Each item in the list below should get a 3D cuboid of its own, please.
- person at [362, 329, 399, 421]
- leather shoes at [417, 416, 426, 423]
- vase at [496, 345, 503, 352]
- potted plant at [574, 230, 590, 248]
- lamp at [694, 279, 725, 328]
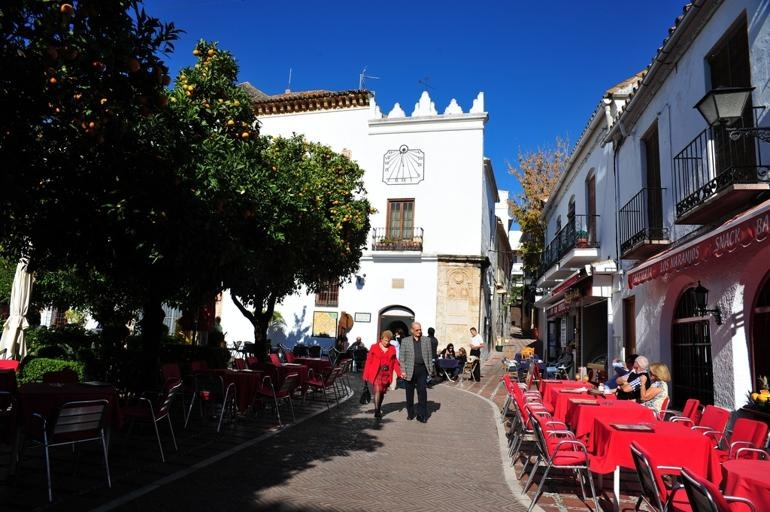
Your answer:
[{"bbox_3d":[-0.048,2.776,12.978,0.734,2.021,0.640,4,-2,-39],"label":"person"},{"bbox_3d":[0.861,3.700,12.437,0.188,0.115,0.286,3,-3,-2],"label":"leather shoes"},{"bbox_3d":[7.395,5.941,34.923,0.339,0.288,0.366,3,-14,-6],"label":"vase"},{"bbox_3d":[6.668,-0.548,18.264,0.445,0.695,0.478,0,-8,4],"label":"potted plant"},{"bbox_3d":[6.685,0.970,11.262,0.424,0.871,0.765,2,-2,19],"label":"lamp"}]
